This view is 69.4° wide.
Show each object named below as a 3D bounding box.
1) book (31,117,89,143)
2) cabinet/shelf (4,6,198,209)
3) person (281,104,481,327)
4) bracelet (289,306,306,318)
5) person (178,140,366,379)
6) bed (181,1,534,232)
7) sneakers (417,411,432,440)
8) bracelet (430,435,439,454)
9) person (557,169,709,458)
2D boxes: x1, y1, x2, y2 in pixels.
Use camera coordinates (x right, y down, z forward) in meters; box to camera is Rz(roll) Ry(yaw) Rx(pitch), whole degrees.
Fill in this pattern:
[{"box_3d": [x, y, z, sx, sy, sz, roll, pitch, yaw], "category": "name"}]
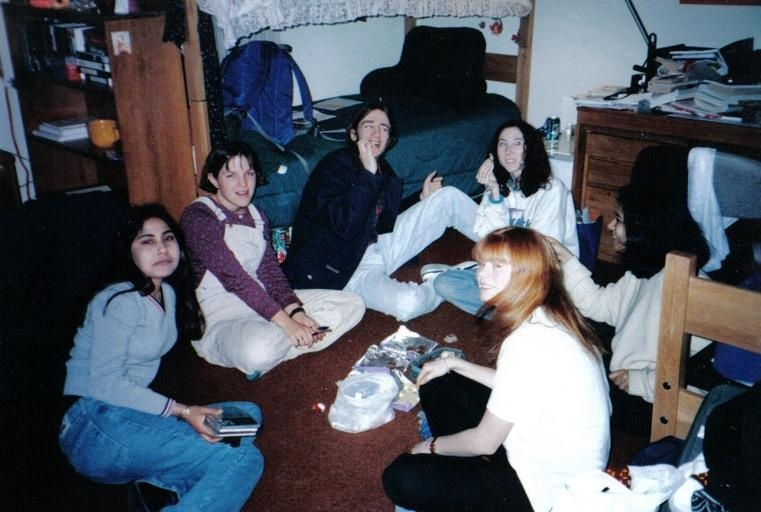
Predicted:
[{"box_3d": [-2.197, -0.870, 3.785, 0.233, 0.060, 0.251, 21, 32, 36], "category": "book"}, {"box_3d": [-1.736, -0.972, 3.432, 1.310, 1.169, 0.429, 13, 29, 38], "category": "cabinet/shelf"}, {"box_3d": [0.162, -0.299, 3.281, 1.617, 1.128, 1.183, -3, 13, -5], "category": "person"}, {"box_3d": [-0.436, 0.287, 2.857, 0.056, 0.016, 0.056, 2, 18, 46], "category": "bracelet"}, {"box_3d": [-0.602, 0.002, 2.817, 0.908, 1.069, 0.905, 7, 17, 13], "category": "person"}, {"box_3d": [0.075, -1.042, 4.507, 2.556, 1.573, 1.613, -19, 43, -21], "category": "bed"}, {"box_3d": [0.185, 0.745, 2.384, 0.051, 0.131, 0.098, -4, 9, 11], "category": "sneakers"}, {"box_3d": [0.193, 0.701, 2.030, 0.020, 0.035, 0.048, 3, -12, -13], "category": "bracelet"}, {"box_3d": [1.194, 0.216, 2.569, 0.906, 1.071, 0.690, -1, 3, 38], "category": "person"}]
